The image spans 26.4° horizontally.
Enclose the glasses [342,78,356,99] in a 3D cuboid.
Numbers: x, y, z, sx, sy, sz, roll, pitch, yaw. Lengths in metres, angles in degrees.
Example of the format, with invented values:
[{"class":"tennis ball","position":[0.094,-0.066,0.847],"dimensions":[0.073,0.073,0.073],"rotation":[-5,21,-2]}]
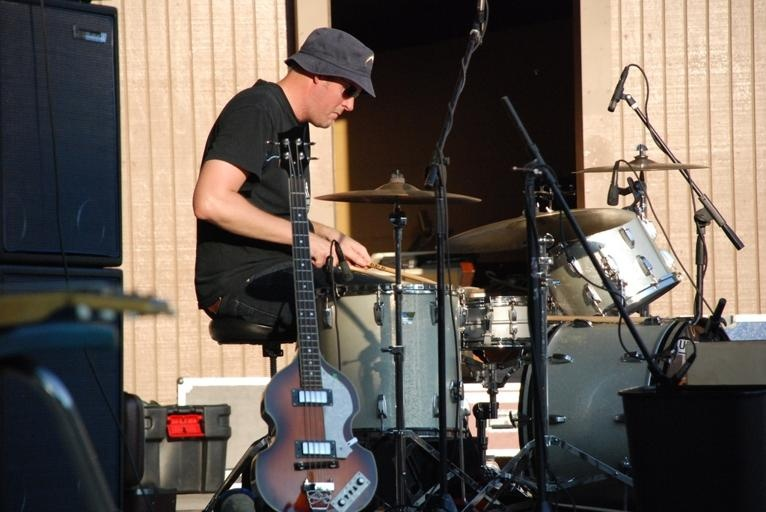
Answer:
[{"class":"glasses","position":[-0.181,-0.926,8.873],"dimensions":[0.088,0.063,0.069],"rotation":[32,-5,-16]}]

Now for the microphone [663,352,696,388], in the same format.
[{"class":"microphone","position":[1.509,0.578,8.323],"dimensions":[0.124,0.196,0.207],"rotation":[0,1,-42]}]

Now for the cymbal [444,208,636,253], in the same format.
[{"class":"cymbal","position":[0.912,-0.166,9.378],"dimensions":[0.523,0.110,0.496],"rotation":[-5,-10,-10]}]

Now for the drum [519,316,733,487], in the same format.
[{"class":"drum","position":[1.439,0.931,9.291],"dimensions":[0.858,1.192,1.199],"rotation":[-5,-8,33]}]

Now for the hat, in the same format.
[{"class":"hat","position":[-0.262,-1.111,8.966],"dimensions":[0.554,0.294,0.440],"rotation":[21,15,23]}]

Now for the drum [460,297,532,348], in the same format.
[{"class":"drum","position":[0.620,0.374,9.116],"dimensions":[0.440,0.293,0.148],"rotation":[2,-8,-23]}]

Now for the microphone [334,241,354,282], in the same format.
[{"class":"microphone","position":[-0.213,0.051,8.588],"dimensions":[0.069,0.253,0.069],"rotation":[-12,-9,0]}]

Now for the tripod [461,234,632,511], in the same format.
[{"class":"tripod","position":[0.835,0.562,8.591],"dimensions":[0.828,1.563,1.045],"rotation":[-5,-10,7]}]

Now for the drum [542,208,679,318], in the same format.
[{"class":"drum","position":[1.384,0.003,9.565],"dimensions":[0.713,0.474,0.710],"rotation":[-31,4,2]}]

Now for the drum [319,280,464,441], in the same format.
[{"class":"drum","position":[0.045,0.557,8.967],"dimensions":[1.020,0.742,1.019],"rotation":[-5,1,0]}]
